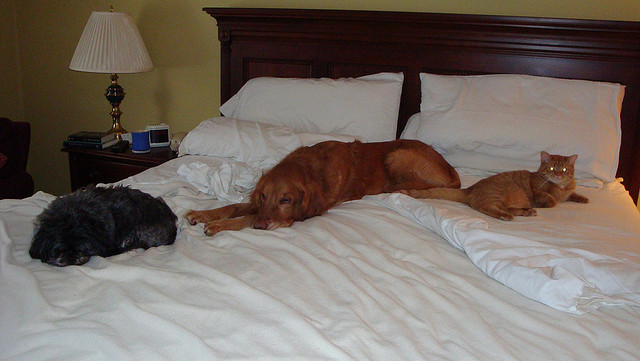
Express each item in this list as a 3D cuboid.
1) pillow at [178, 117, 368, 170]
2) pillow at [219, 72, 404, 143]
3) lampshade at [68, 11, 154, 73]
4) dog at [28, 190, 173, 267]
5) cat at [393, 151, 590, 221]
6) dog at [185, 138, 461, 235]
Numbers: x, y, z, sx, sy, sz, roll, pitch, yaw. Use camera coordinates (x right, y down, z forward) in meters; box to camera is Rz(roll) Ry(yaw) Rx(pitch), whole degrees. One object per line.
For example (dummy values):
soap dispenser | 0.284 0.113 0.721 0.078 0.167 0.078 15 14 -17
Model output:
pillow | -0.557 -0.331 3.863 1.053 0.178 0.617 5 35 10
pillow | -0.019 -0.672 4.127 1.219 0.335 0.713 6 34 8
lampshade | -2.085 -1.397 4.685 0.867 0.548 0.853 9 20 13
dog | -1.348 0.267 2.907 0.703 0.339 0.422 -9 -4 -34
cat | 1.251 0.100 3.456 1.194 0.369 0.594 -3 13 6
dog | 0.014 -0.156 3.408 1.697 0.410 0.809 -10 4 -25
